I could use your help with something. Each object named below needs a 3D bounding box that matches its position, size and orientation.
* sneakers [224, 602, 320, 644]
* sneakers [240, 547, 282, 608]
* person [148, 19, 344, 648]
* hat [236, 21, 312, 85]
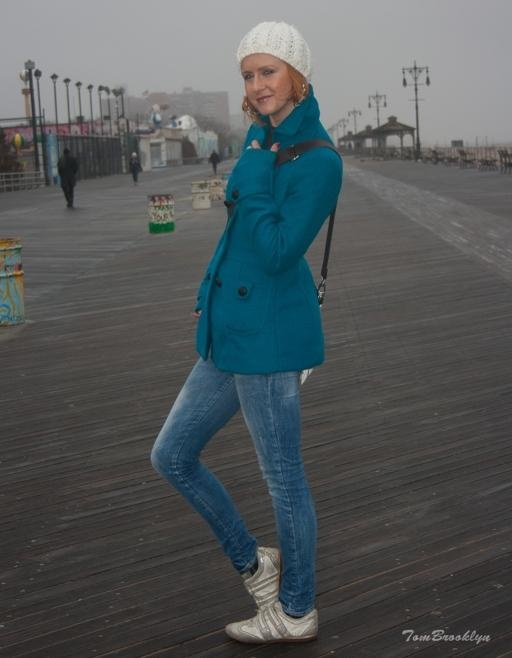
[{"bbox_3d":[0.050,0.872,1.682,0.298,0.139,0.110,0,-9,5],"label":"sneakers"},{"bbox_3d":[0.023,0.762,1.676,0.097,0.239,0.077,0,-2,-27],"label":"sneakers"},{"bbox_3d":[0.004,0.101,1.509,0.532,1.787,0.371,1,7,31],"label":"person"},{"bbox_3d":[0.047,-0.716,1.413,0.195,0.150,0.129,-3,7,-2],"label":"hat"}]
